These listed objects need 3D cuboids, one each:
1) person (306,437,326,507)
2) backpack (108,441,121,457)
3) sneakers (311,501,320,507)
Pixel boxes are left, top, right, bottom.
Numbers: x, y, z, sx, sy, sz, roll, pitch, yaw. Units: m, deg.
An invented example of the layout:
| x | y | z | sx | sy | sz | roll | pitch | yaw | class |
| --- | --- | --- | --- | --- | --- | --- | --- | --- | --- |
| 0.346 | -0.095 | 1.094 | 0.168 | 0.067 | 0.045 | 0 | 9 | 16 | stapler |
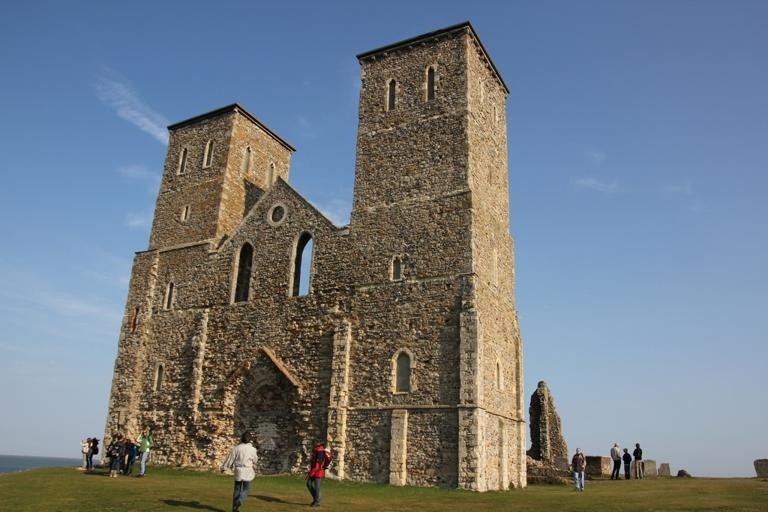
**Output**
| x | y | z | sx | sy | sz | roll | pitch | yaw | class |
| --- | --- | --- | --- | --- | --- | --- | --- | --- | --- |
| -2.239 | 7.458 | 21.863 | 0.673 | 2.029 | 1.574 | 4 | -22 | -5 | person |
| -11.180 | 8.061 | 26.756 | 0.475 | 0.707 | 0.302 | -3 | -23 | 11 | backpack |
| -2.286 | 8.314 | 21.432 | 0.388 | 0.237 | 0.136 | 5 | -23 | -7 | sneakers |
